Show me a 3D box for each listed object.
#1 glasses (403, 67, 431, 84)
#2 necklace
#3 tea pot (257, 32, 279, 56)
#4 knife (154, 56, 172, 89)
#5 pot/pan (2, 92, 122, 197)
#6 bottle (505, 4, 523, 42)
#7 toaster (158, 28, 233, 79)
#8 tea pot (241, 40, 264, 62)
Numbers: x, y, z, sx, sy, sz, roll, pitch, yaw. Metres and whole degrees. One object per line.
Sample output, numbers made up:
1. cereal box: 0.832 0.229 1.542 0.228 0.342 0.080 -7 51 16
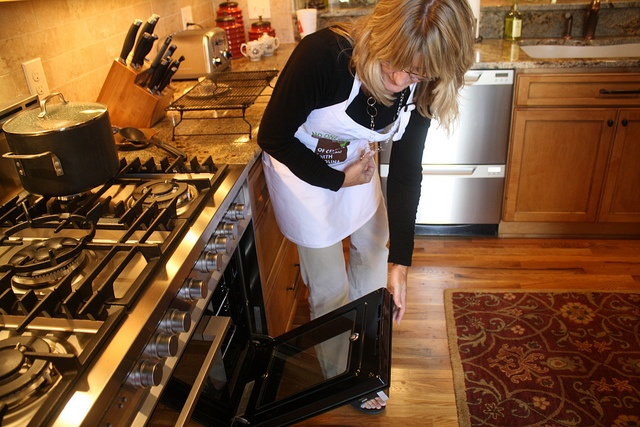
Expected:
1. glasses: 0.302 -0.440 1.453 0.092 0.044 0.052 -3 24 -1
2. necklace: 0.235 -0.346 1.732 0.039 0.256 0.133 33 57 30
3. tea pot: -0.313 -1.111 3.039 0.116 0.157 0.160 13 25 30
4. knife: -0.662 -0.606 1.954 0.033 0.159 0.028 11 17 -4
5. pot/pan: -0.773 -0.186 1.512 0.299 0.272 0.401 -13 34 -14
6. bottle: 1.309 -1.294 3.077 0.123 0.229 0.148 4 25 15
7. toaster: -0.755 -0.996 2.710 0.285 0.248 0.410 -1 40 -5
8. tea pot: -0.431 -1.064 3.025 0.170 0.117 0.116 -6 34 3
